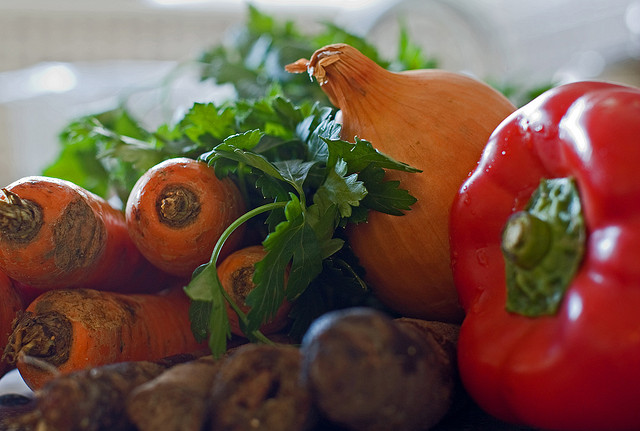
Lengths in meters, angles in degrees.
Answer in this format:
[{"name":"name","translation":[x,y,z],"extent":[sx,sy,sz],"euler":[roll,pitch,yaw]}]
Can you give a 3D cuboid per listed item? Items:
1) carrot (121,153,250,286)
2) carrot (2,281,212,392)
[{"name":"carrot","translation":[-0.172,0.009,0.811],"extent":[0.114,0.122,0.143],"euler":[37,1,9]},{"name":"carrot","translation":[-0.284,0.143,0.849],"extent":[0.288,0.123,0.120],"euler":[-2,-6,-41]}]
